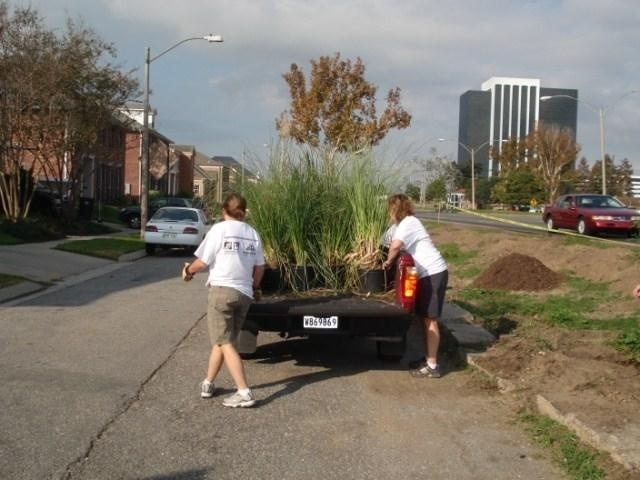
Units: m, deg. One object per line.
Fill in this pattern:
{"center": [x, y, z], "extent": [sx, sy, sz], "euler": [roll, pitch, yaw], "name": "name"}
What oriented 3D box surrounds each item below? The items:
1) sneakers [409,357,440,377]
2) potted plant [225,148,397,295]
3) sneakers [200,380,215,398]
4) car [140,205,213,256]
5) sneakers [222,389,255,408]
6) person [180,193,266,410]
{"center": [1.249, 1.513, 6.914], "extent": [0.302, 0.145, 0.183], "euler": [8, -5, -9], "name": "sneakers"}
{"center": [-0.049, -0.359, 7.850], "extent": [1.866, 2.006, 1.902], "euler": [0, -6, 16], "name": "potted plant"}
{"center": [-1.189, 1.579, 6.116], "extent": [0.085, 0.112, 0.224], "euler": [1, -9, -2], "name": "sneakers"}
{"center": [-4.698, -0.365, 19.656], "extent": [1.219, 0.974, 2.774], "euler": [1, 5, 1], "name": "car"}
{"center": [-0.813, 1.622, 5.918], "extent": [0.346, 0.202, 0.151], "euler": [1, -1, 0], "name": "sneakers"}
{"center": [-0.952, 0.599, 6.232], "extent": [0.899, 2.164, 0.729], "euler": [4, 7, 30], "name": "person"}
